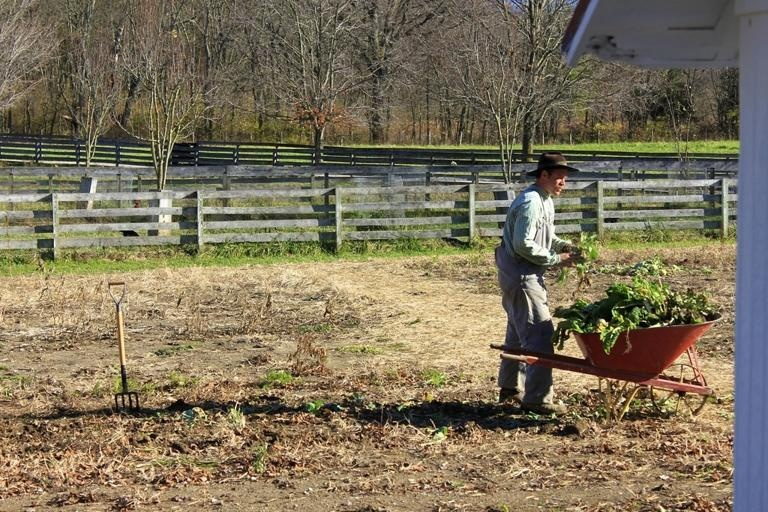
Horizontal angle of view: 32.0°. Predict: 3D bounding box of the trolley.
[{"bbox_3d":[4.285,2.209,26.216,4.567,1.934,1.735,2,1,-7],"label":"trolley"}]
